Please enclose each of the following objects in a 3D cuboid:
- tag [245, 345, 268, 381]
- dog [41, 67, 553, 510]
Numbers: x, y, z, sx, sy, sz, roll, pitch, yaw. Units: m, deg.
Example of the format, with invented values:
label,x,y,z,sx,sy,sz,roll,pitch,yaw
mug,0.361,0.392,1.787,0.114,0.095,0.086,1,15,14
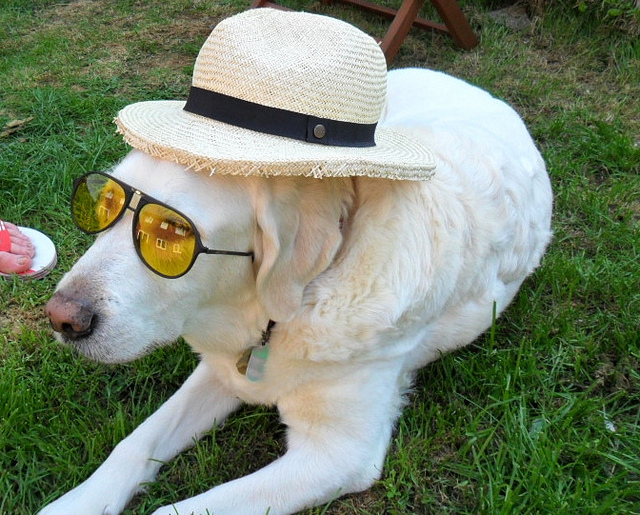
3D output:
label,x,y,z,sx,sy,sz,roll,pitch,yaw
tag,-0.293,0.483,3.050,0.062,0.159,0.122,19,29,9
dog,0.145,-0.028,3.347,1.675,1.221,2.601,19,47,36
